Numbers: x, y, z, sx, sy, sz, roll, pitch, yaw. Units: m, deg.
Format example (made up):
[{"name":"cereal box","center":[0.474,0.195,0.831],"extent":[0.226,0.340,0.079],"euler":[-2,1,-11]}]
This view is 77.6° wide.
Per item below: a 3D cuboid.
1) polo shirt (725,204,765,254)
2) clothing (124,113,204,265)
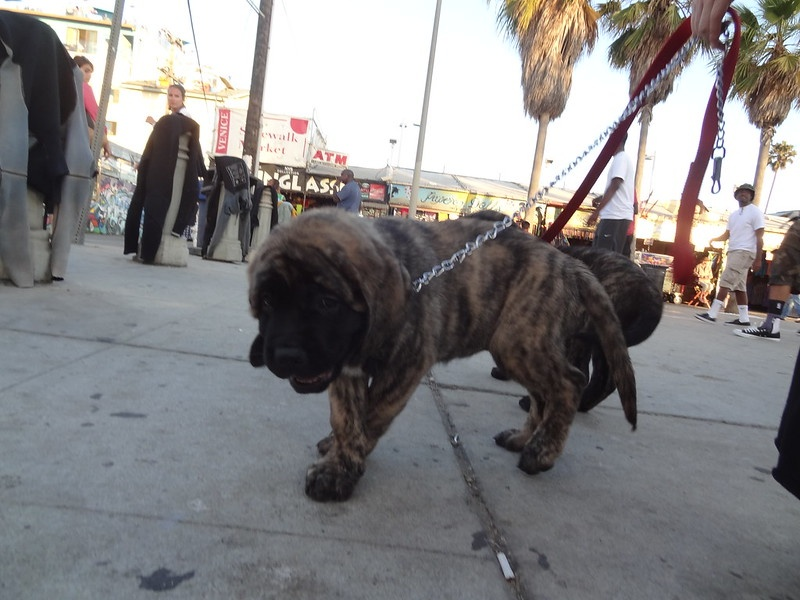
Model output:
[{"name":"polo shirt","center":[5.521,-1.134,7.985],"extent":[0.340,0.825,0.650],"euler":[2,3,-19]},{"name":"clothing","center":[-3.271,-1.559,6.945],"extent":[0.783,2.003,0.737],"euler":[9,7,-5]}]
